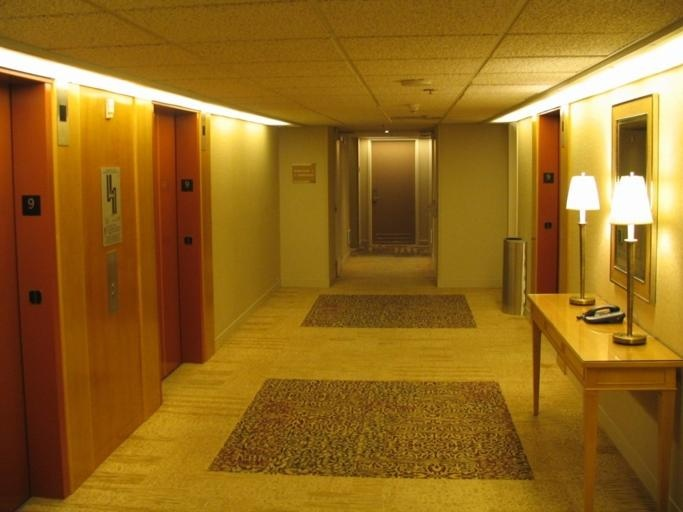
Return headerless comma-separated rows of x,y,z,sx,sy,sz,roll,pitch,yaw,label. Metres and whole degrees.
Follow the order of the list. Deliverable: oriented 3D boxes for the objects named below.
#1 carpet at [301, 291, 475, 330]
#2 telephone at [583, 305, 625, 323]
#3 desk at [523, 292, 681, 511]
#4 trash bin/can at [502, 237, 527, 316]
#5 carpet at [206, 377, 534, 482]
0.752,0.806,7.960,2.446,0.047,1.939,0,11,4,carpet
1.942,0.438,3.845,0.214,0.077,0.150,0,3,4,telephone
1.867,1.044,3.669,0.404,0.655,1.376,1,8,7,desk
2.543,0.299,7.603,0.332,1.057,0.413,2,11,17,trash bin/can
0.259,1.462,4.656,2.638,0.016,2.575,1,5,20,carpet
